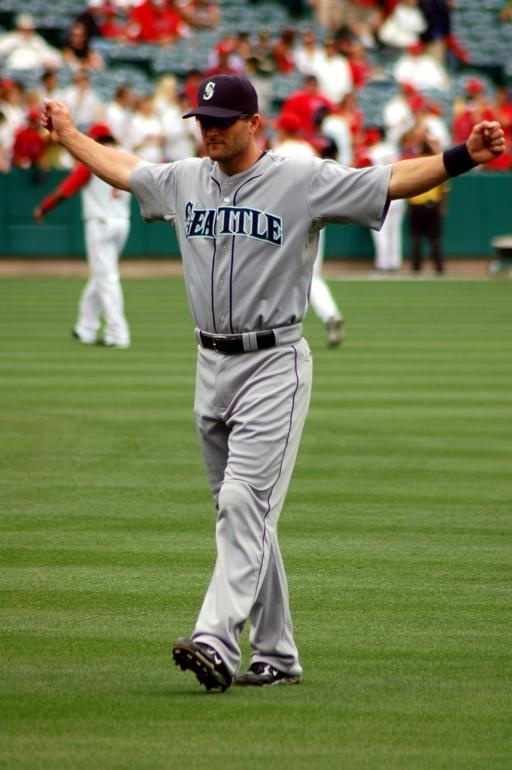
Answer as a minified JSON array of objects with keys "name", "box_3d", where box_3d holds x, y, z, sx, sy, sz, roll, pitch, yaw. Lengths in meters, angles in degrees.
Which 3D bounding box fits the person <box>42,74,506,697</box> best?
[{"name":"person","box_3d":[0.017,-0.009,4.500,1.232,1.658,0.763,4,10,12]}]

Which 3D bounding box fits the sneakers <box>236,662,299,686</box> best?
[{"name":"sneakers","box_3d":[0.021,0.804,4.552,0.185,0.087,0.070,5,-4,-11]}]

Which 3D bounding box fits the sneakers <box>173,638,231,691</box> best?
[{"name":"sneakers","box_3d":[-0.149,0.731,4.293,0.191,0.168,0.072,-8,14,-44]}]

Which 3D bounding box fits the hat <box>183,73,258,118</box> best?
[{"name":"hat","box_3d":[-0.100,-0.785,4.500,0.125,0.116,0.192,3,4,36]}]

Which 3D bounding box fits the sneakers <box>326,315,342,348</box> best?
[{"name":"sneakers","box_3d":[0.506,-0.356,10.792,0.075,0.250,0.099,3,22,9]}]
